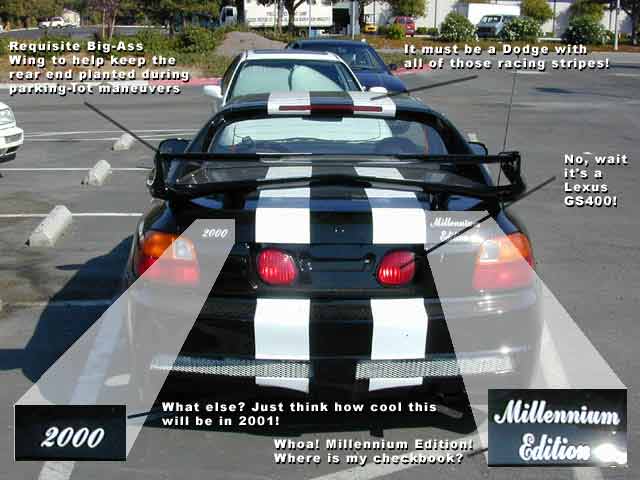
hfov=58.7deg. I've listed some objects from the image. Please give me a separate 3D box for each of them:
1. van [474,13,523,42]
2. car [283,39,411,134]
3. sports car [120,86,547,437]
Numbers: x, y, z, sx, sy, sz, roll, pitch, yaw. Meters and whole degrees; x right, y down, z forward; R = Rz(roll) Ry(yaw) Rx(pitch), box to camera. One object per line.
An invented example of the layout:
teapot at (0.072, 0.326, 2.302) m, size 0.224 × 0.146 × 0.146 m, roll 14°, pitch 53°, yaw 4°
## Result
van at (15.755, -18.244, 48.900) m, size 4.500 × 2.066 × 2.460 m, roll -14°, pitch 38°, yaw -22°
car at (0.792, -4.273, 15.211) m, size 2.190 × 1.665 × 5.074 m, roll -1°, pitch 18°, yaw -8°
sports car at (0.052, -0.102, 4.543) m, size 2.359 × 1.333 × 3.998 m, roll -1°, pitch 9°, yaw -3°
